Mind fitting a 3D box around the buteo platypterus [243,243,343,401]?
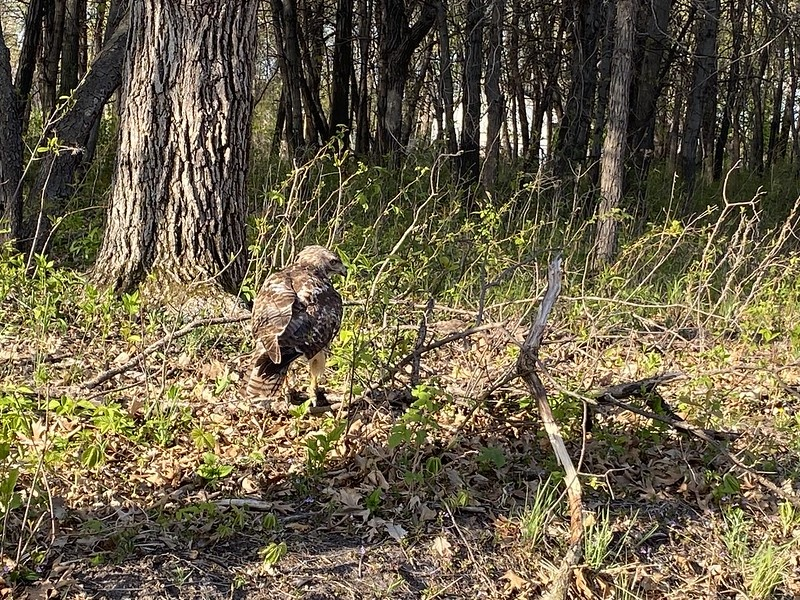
[{"bbox_3d":[-0.883,0.234,7.469,0.605,1.331,1.438,6,11,17],"label":"buteo platypterus"}]
